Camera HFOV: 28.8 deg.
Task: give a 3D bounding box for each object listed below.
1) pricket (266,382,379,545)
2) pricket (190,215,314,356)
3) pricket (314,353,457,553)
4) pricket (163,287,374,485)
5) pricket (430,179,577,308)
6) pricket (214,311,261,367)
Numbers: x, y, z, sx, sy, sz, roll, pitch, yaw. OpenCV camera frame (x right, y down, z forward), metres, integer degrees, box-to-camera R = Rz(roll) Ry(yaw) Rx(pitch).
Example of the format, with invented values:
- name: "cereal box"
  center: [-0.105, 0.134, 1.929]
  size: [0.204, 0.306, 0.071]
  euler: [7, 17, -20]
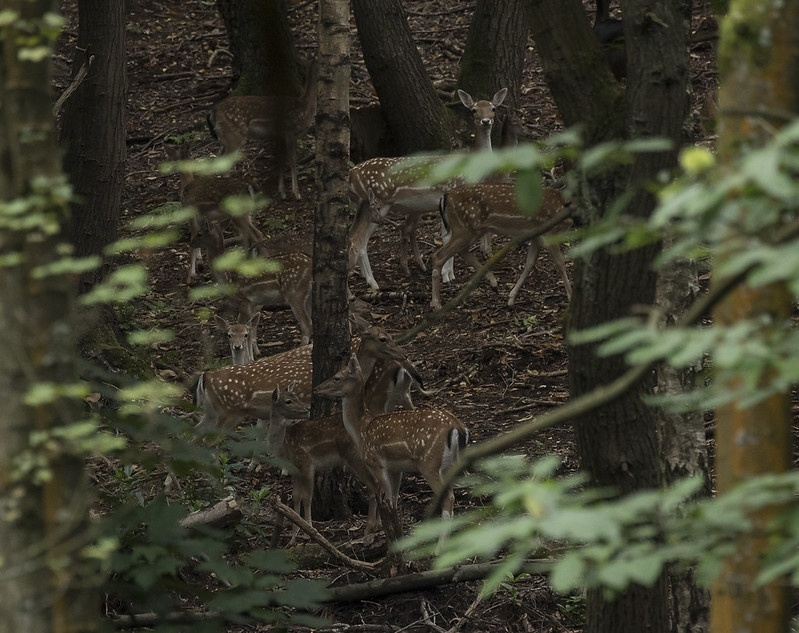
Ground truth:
- name: "pricket"
  center: [-0.534, 0.941, 10.027]
  size: [1.083, 0.941, 0.331]
  euler: [1, -16, -41]
- name: "pricket"
  center: [-1.149, -0.249, 12.832]
  size: [1.417, 1.200, 0.417]
  euler: [-2, -5, 35]
- name: "pricket"
  center: [0.000, 0.801, 9.723]
  size: [1.205, 1.005, 0.378]
  euler: [1, -1, 38]
- name: "pricket"
  center: [-0.850, 0.561, 11.127]
  size: [0.421, 1.159, 1.602]
  euler: [11, 12, 39]
- name: "pricket"
  center: [1.062, -0.725, 12.705]
  size: [1.644, 1.321, 0.423]
  euler: [1, 3, -15]
- name: "pricket"
  center: [-1.240, 0.171, 12.144]
  size: [0.339, 0.587, 0.742]
  euler: [-1, 23, -4]
